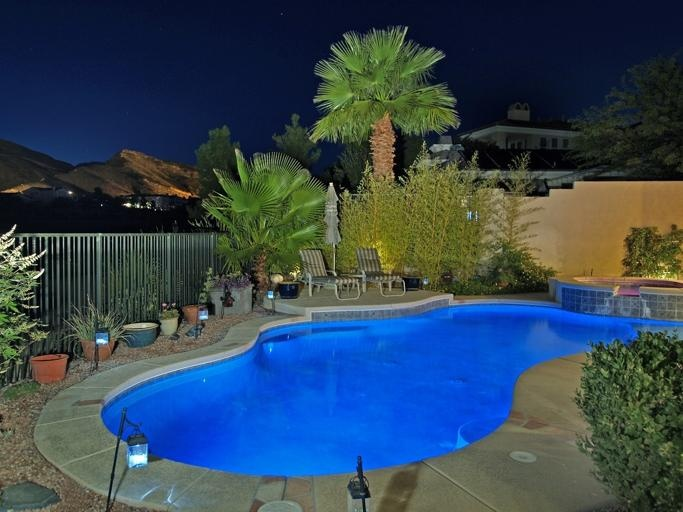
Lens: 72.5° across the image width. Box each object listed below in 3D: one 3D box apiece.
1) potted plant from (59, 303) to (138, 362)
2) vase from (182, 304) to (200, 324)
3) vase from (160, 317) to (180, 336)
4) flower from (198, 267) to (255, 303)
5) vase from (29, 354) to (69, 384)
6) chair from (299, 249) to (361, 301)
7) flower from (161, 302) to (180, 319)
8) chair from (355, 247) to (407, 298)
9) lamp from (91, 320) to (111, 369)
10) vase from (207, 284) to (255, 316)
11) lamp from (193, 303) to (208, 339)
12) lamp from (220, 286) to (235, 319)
[{"bbox_3d":[-3.515,0.999,6.726,0.755,0.761,0.777,-1,2,-15],"label":"potted plant"},{"bbox_3d":[-2.772,1.035,8.542,0.335,0.272,0.350,0,1,0],"label":"vase"},{"bbox_3d":[-2.867,1.170,7.761,0.252,0.235,0.295,0,-4,6],"label":"vase"},{"bbox_3d":[-2.503,0.539,9.789,0.821,0.554,0.799,-1,3,-24],"label":"flower"},{"bbox_3d":[-3.597,1.384,5.707,0.328,0.253,0.345,0,0,-2],"label":"vase"},{"bbox_3d":[-0.310,0.425,11.342,0.941,1.153,1.537,-4,6,-40],"label":"chair"},{"bbox_3d":[-2.926,0.947,7.916,0.325,0.246,0.339,2,3,-4],"label":"flower"},{"bbox_3d":[0.982,0.363,12.050,1.145,1.214,2.130,-5,-1,2],"label":"chair"},{"bbox_3d":[-3.253,1.199,6.263,0.200,0.664,0.626,-5,0,-29],"label":"lamp"},{"bbox_3d":[-2.315,0.784,9.622,0.894,0.675,0.492,-1,1,-40],"label":"vase"},{"bbox_3d":[-2.461,1.148,8.101,0.201,0.336,0.613,5,-43,-10],"label":"lamp"},{"bbox_3d":[-2.292,0.883,9.309,0.259,0.656,0.438,-5,0,-14],"label":"lamp"}]
